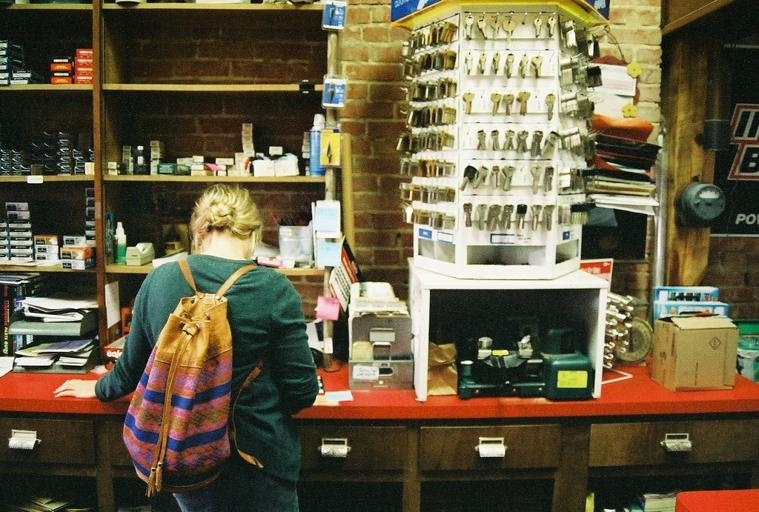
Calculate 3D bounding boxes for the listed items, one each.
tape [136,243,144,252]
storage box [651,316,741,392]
[{"bbox_3d":[-1.309,-0.048,4.770,0.048,0.043,0.036,-8,9,-27],"label":"tape"},{"bbox_3d":[1.586,0.461,4.571,0.509,0.427,0.362,0,-1,6],"label":"storage box"}]
